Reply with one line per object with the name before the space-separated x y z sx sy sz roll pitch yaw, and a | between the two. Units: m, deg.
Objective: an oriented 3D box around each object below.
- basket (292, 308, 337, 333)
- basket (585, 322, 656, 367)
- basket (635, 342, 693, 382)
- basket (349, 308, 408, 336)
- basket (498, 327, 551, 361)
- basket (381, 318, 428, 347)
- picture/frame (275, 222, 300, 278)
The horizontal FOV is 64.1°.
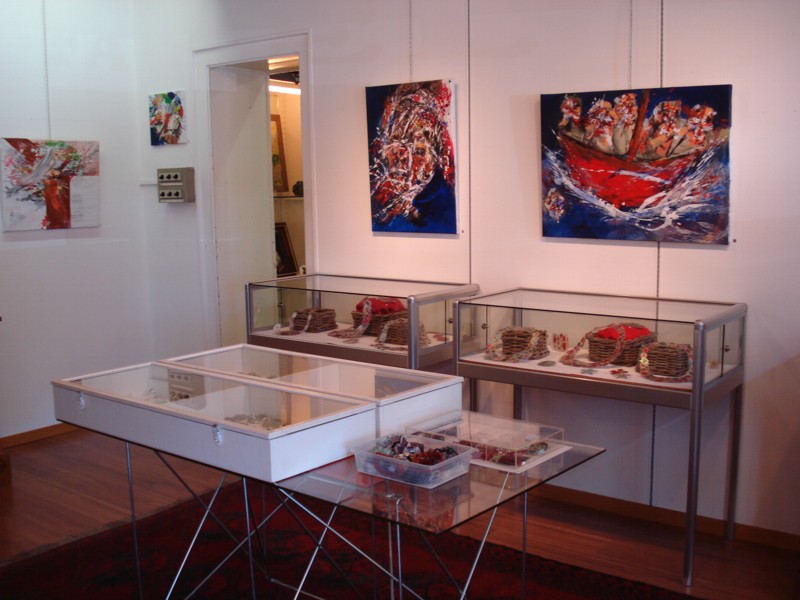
basket | -0.646 0.147 4.619 0.185 0.117 0.244 3 4 33
basket | 1.235 0.247 3.605 0.217 0.157 0.288 3 6 37
basket | 1.438 0.338 3.436 0.211 0.089 0.208 -9 12 -39
basket | -0.186 0.144 4.336 0.267 0.113 0.191 1 5 31
basket | 0.742 0.267 3.876 0.293 0.200 0.182 1 4 36
basket | 0.010 0.216 4.289 0.252 0.130 0.171 3 9 25
picture/frame | -1.338 -0.537 7.356 0.128 0.550 0.502 -8 0 1
